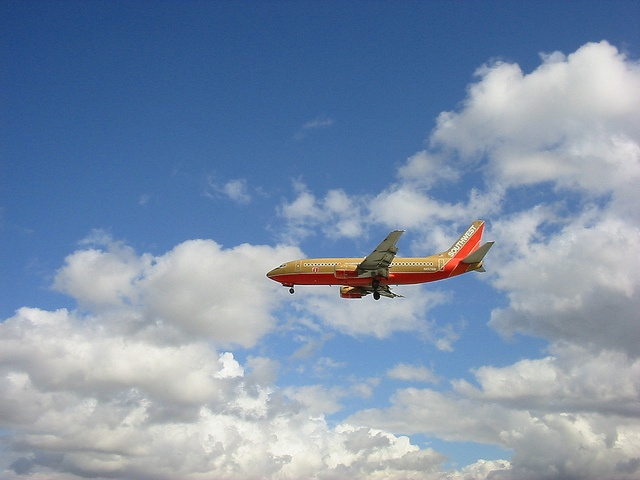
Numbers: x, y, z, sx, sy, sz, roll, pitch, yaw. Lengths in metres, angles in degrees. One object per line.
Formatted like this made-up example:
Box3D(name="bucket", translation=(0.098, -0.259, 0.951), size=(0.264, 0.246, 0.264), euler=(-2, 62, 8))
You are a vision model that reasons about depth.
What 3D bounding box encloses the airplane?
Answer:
Box3D(name="airplane", translation=(7.719, 2.009, 102.761), size=(23.140, 12.118, 12.037), euler=(-2, -33, 9))
